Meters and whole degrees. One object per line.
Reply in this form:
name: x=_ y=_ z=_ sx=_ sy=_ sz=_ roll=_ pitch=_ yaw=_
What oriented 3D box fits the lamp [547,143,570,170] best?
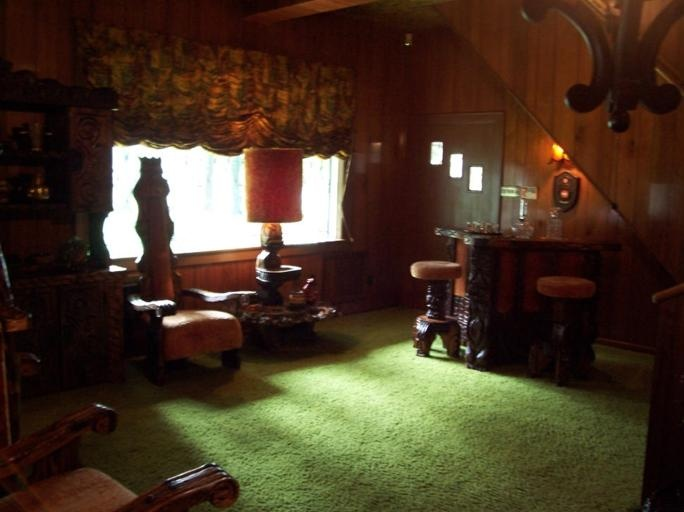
lamp: x=2.327 y=-1.064 z=6.271 sx=0.062 sy=0.259 sz=0.240 roll=-8 pitch=15 yaw=-42

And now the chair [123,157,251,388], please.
chair: x=-1.397 y=0.099 z=5.055 sx=0.820 sy=1.828 sz=0.884 roll=-7 pitch=14 yaw=-36

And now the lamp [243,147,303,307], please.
lamp: x=-0.673 y=-0.257 z=5.671 sx=0.546 sy=1.537 sz=0.401 roll=0 pitch=11 yaw=-6

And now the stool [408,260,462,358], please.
stool: x=1.000 y=0.502 z=5.788 sx=0.637 sy=0.905 sz=0.467 roll=-9 pitch=15 yaw=-43

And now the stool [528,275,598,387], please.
stool: x=1.949 y=0.619 z=5.172 sx=0.526 sy=0.902 sz=0.606 roll=5 pitch=11 yaw=18
